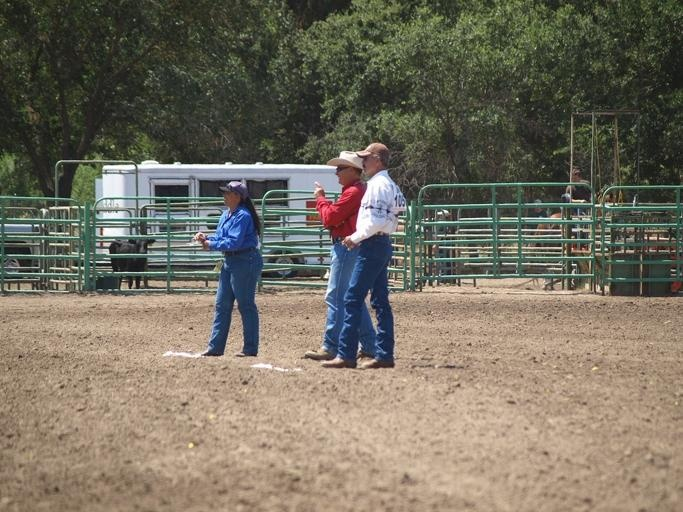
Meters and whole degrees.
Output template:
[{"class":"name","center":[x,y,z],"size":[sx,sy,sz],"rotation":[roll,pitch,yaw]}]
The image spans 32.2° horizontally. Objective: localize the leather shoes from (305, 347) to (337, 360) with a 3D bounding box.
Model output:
[{"class":"leather shoes","center":[-0.372,1.723,20.555],"size":[0.564,0.259,0.219],"rotation":[6,-15,10]}]

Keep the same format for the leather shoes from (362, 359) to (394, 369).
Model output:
[{"class":"leather shoes","center":[0.640,1.869,20.012],"size":[0.546,0.252,0.198],"rotation":[5,-5,3]}]

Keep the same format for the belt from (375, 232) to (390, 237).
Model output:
[{"class":"belt","center":[0.699,-0.352,19.611],"size":[0.240,0.060,0.088],"rotation":[0,2,-41]}]

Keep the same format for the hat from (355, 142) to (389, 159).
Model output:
[{"class":"hat","center":[0.566,-1.774,19.890],"size":[0.407,0.238,0.278],"rotation":[3,0,2]}]

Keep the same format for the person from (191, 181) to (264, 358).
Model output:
[{"class":"person","center":[-1.874,0.242,20.679],"size":[0.958,3.030,0.450],"rotation":[1,2,-4]}]

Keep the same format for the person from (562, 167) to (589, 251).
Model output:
[{"class":"person","center":[5.856,-1.183,28.815],"size":[0.629,2.089,0.655],"rotation":[-4,32,11]}]

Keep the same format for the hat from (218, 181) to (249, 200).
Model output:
[{"class":"hat","center":[-1.884,-1.174,20.773],"size":[0.483,0.286,0.330],"rotation":[13,7,-4]}]

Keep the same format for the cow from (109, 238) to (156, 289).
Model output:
[{"class":"cow","center":[-5.104,0.202,28.643],"size":[0.985,1.195,0.744],"rotation":[1,2,-11]}]

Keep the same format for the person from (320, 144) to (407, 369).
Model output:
[{"class":"person","center":[0.494,0.025,19.782],"size":[1.067,3.765,0.618],"rotation":[1,2,0]}]
